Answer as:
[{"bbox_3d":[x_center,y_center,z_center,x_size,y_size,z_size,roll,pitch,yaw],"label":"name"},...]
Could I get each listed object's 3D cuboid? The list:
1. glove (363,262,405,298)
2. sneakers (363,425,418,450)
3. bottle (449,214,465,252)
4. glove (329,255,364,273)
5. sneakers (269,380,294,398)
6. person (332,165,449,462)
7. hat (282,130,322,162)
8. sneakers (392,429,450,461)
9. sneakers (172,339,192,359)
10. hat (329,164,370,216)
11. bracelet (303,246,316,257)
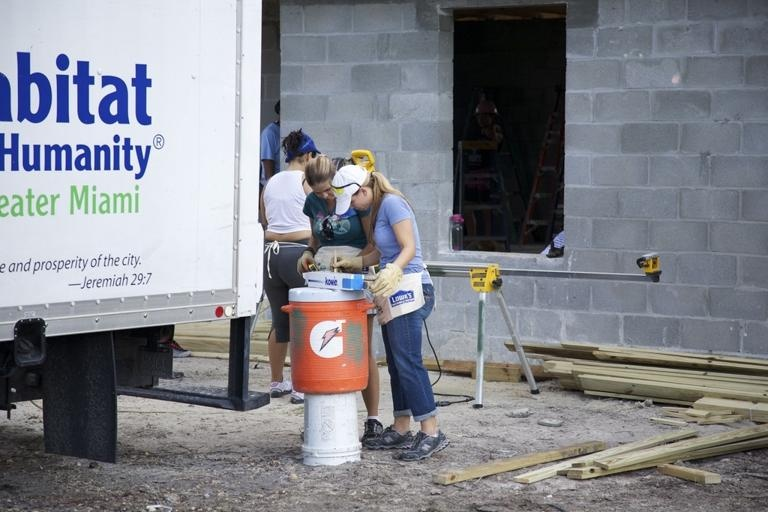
[{"bbox_3d":[0.016,0.204,8.370,0.293,0.230,0.128,-41,11,6],"label":"glove"},{"bbox_3d":[0.058,1.542,9.060,0.419,0.212,0.172,2,-6,-10],"label":"sneakers"},{"bbox_3d":[0.807,-0.250,11.854,0.138,0.373,0.269,0,9,1],"label":"bottle"},{"bbox_3d":[-0.320,0.081,9.028,0.321,0.190,0.155,1,-2,-13],"label":"glove"},{"bbox_3d":[-1.003,1.313,10.663,0.119,0.161,0.335,4,10,27],"label":"sneakers"},{"bbox_3d":[0.058,0.448,8.813,0.757,2.356,0.773,-7,11,-37],"label":"person"},{"bbox_3d":[-0.786,-1.102,10.659,0.266,0.250,0.367,15,21,40],"label":"hat"},{"bbox_3d":[0.327,1.564,8.870,0.458,0.224,0.181,-23,4,-26],"label":"sneakers"},{"bbox_3d":[-2.277,1.052,12.216,0.191,0.233,0.582,-2,10,-9],"label":"sneakers"},{"bbox_3d":[-0.257,-0.526,8.732,0.303,0.405,0.227,-1,9,-1],"label":"hat"},{"bbox_3d":[-0.626,-0.032,9.265,0.061,0.046,0.085,22,-9,-7],"label":"bracelet"}]
